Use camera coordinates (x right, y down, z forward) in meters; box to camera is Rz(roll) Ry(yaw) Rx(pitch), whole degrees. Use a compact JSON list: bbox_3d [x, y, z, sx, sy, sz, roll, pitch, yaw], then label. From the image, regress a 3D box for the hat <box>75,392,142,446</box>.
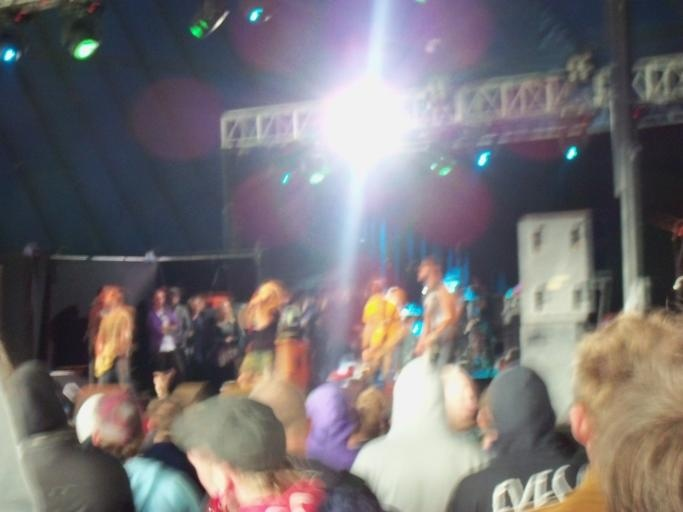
[{"bbox_3d":[-1.184,0.797,3.593,0.213,0.236,0.305,-2,-26,-7],"label":"hat"}]
